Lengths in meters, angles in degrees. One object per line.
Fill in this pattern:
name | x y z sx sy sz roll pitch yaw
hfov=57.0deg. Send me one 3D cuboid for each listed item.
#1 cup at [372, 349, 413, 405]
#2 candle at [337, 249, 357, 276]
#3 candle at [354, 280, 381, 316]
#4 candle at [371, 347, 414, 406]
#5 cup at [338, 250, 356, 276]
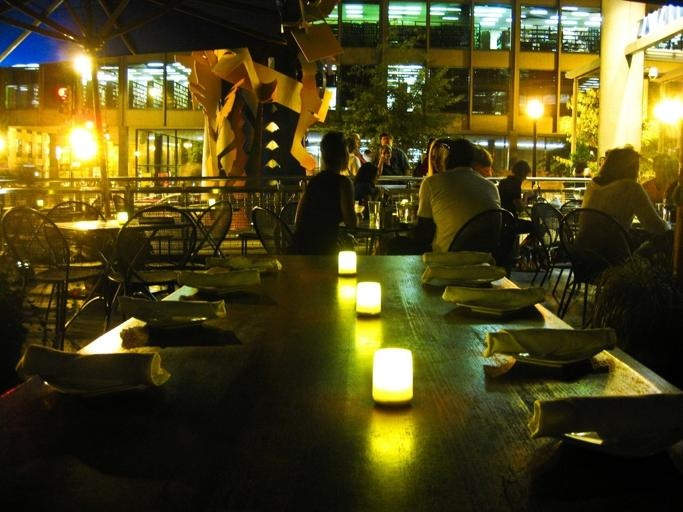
cup | 0.108 0.262 1.373 0.090 0.110 0.092 0 1 0
candle | 0.031 0.035 2.886 0.094 0.115 0.098 0 4 0
candle | 0.087 0.134 2.005 0.093 0.125 0.089 -1 4 -5
candle | 0.107 0.264 1.368 0.091 0.111 0.093 0 0 -12
cup | 0.034 0.033 2.885 0.092 0.114 0.097 0 4 0
